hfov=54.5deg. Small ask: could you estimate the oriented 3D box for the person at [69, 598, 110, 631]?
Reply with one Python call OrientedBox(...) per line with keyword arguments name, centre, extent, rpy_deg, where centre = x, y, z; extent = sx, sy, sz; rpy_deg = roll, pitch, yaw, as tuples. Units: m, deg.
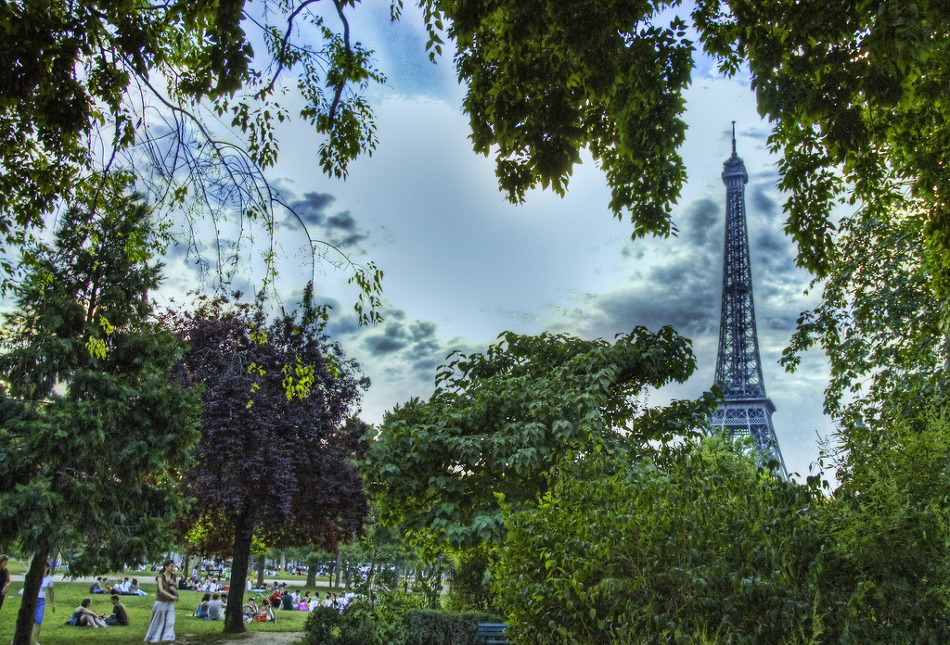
OrientedBox(name="person", centre=(-12.034, 9.102, 28.547), extent=(0.814, 0.817, 1.167), rpy_deg=(-2, -8, -10))
